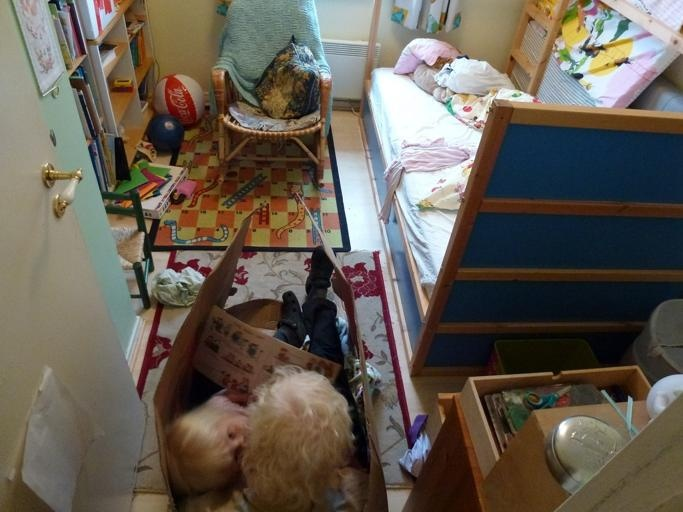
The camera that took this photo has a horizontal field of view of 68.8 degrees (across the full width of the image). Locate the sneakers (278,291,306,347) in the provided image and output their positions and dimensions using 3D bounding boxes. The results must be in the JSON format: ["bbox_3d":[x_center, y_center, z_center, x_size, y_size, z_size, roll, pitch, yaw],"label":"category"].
[{"bbox_3d":[-0.171,0.219,1.745,0.061,0.087,0.219,0,40,-2],"label":"sneakers"}]

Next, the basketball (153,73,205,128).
[{"bbox_3d":[-1.116,-1.089,3.687,0.350,0.441,0.368,-1,4,8],"label":"basketball"}]

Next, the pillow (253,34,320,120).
[{"bbox_3d":[-0.427,-1.181,3.295,0.333,0.505,0.519,-3,34,-29],"label":"pillow"}]

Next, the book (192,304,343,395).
[{"bbox_3d":[-0.243,0.271,1.429,0.269,0.136,0.275,24,9,-24],"label":"book"}]

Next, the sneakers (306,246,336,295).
[{"bbox_3d":[-0.075,0.058,1.960,0.079,0.146,0.222,6,53,-5],"label":"sneakers"}]

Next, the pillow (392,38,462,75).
[{"bbox_3d":[0.573,-1.392,3.502,0.297,0.093,0.289,16,77,10],"label":"pillow"}]
